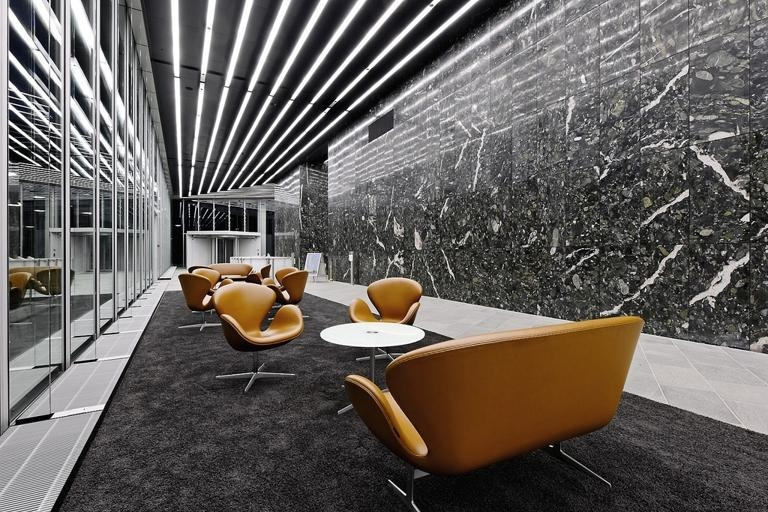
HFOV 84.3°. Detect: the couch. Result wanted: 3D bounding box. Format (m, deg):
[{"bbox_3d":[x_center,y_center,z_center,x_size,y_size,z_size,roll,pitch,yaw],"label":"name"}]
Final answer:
[{"bbox_3d":[0.818,1.090,3.953,2.252,1.436,1.666,-1,-2,-22],"label":"couch"}]
